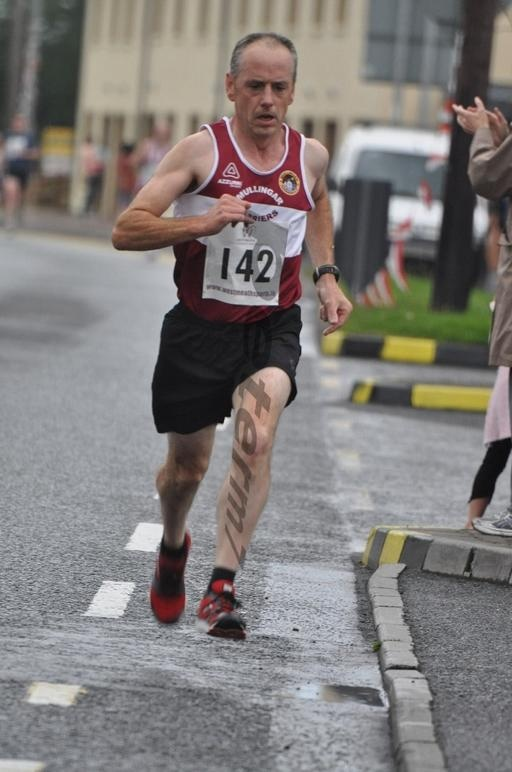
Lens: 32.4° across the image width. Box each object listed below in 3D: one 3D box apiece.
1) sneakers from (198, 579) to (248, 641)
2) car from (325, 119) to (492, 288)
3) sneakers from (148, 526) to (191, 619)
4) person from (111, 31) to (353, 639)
[{"bbox_3d":[-0.098,0.682,2.693,0.128,0.173,0.122,4,1,-18],"label":"sneakers"},{"bbox_3d":[3.344,-4.996,20.984,3.099,2.430,4.806,1,1,1],"label":"car"},{"bbox_3d":[-0.281,0.627,2.888,0.096,0.115,0.266,2,49,-5],"label":"sneakers"},{"bbox_3d":[-0.129,-0.182,2.829,0.494,1.802,0.631,5,1,22],"label":"person"}]
